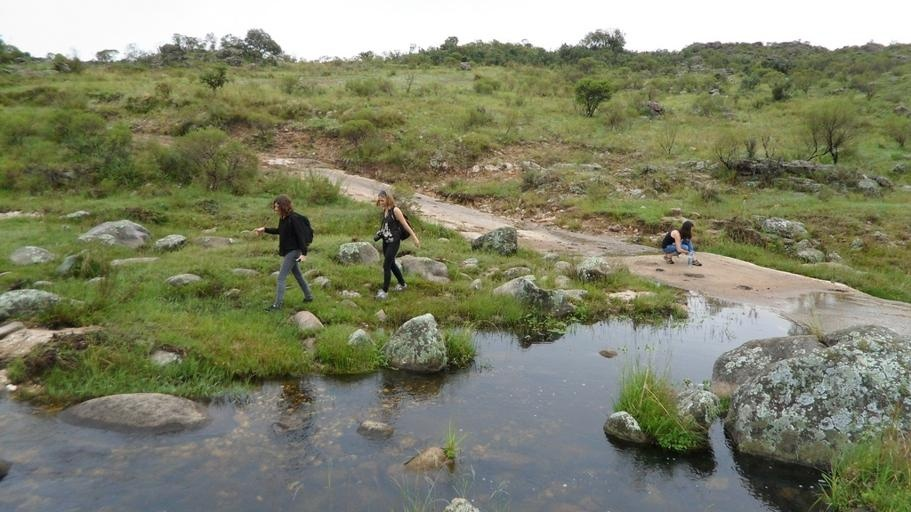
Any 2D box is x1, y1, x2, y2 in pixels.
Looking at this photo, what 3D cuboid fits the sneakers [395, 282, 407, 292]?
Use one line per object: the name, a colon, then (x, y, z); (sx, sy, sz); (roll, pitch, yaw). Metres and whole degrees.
sneakers: (-2.041, 1.183, 23.808); (0.531, 0.213, 0.186); (0, 7, -11)
